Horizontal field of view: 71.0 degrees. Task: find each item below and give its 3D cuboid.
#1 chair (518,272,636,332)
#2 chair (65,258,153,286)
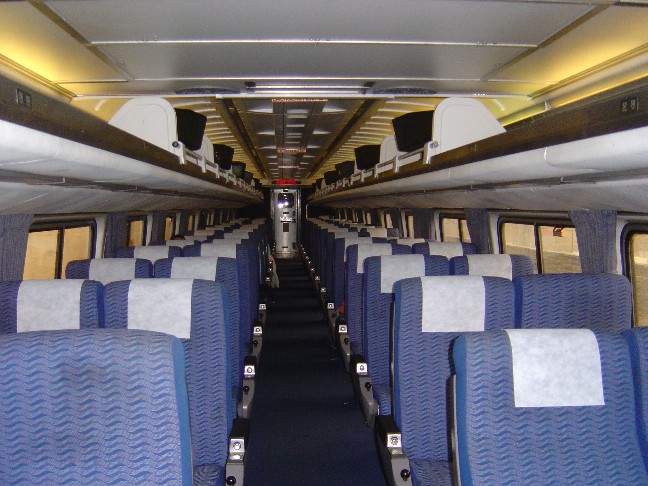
[{"bbox_3d":[1.880,0.415,3.510,1.066,0.549,0.470,0,1,3],"label":"chair"},{"bbox_3d":[-2.045,0.248,4.338,0.623,0.312,0.382,-1,-9,0],"label":"chair"}]
